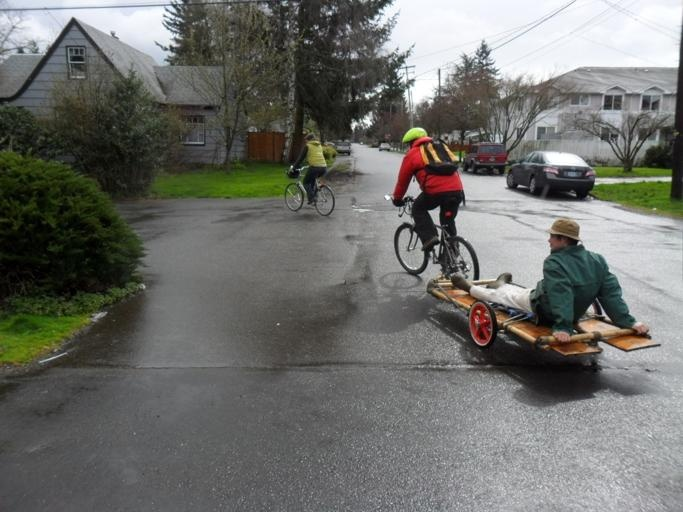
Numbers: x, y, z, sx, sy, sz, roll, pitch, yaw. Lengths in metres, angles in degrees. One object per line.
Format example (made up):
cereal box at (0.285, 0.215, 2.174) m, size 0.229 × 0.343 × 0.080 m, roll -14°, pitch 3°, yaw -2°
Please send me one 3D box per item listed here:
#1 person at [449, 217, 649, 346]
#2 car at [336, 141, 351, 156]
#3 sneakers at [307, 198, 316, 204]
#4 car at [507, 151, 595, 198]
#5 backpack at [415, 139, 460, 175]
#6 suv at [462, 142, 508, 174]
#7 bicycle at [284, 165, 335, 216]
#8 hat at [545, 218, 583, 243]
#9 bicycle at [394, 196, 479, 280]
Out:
person at (2.174, 0.144, 5.577) m, size 0.906 × 1.110 × 1.718 m, roll -10°, pitch 18°, yaw -35°
car at (0.292, -13.554, 67.329) m, size 1.311 × 1.202 × 3.119 m, roll 2°, pitch 21°, yaw 0°
sneakers at (-0.831, -1.532, 15.037) m, size 0.187 × 0.117 × 0.284 m, roll 1°, pitch 4°, yaw 0°
car at (8.111, -3.236, 21.067) m, size 1.479 × 1.573 × 3.824 m, roll -3°, pitch 15°, yaw -10°
backpack at (1.403, -1.419, 7.777) m, size 0.418 × 0.596 × 0.203 m, roll -3°, pitch -23°, yaw -24°
suv at (9.130, -6.377, 34.622) m, size 1.537 × 1.518 × 2.991 m, roll -1°, pitch 18°, yaw -2°
bicycle at (-0.933, -1.874, 15.240) m, size 0.832 × 1.325 × 1.973 m, roll -2°, pitch -2°, yaw 41°
hat at (2.905, -0.330, 7.030) m, size 0.493 × 0.288 × 0.479 m, roll 24°, pitch 9°, yaw 14°
bicycle at (1.675, -0.252, 8.431) m, size 0.833 × 1.102 × 1.735 m, roll -21°, pitch 31°, yaw -27°
